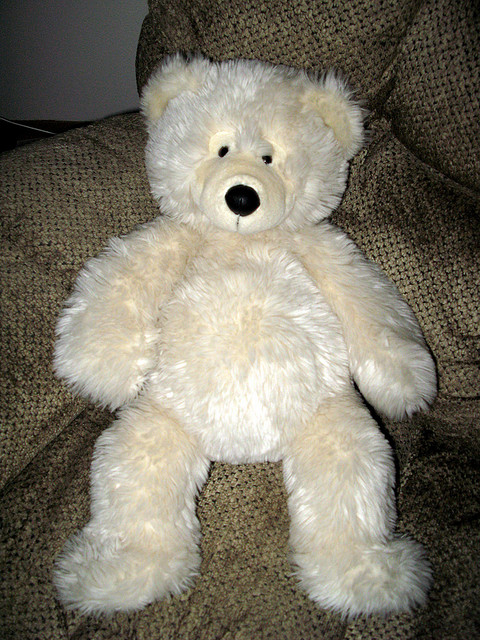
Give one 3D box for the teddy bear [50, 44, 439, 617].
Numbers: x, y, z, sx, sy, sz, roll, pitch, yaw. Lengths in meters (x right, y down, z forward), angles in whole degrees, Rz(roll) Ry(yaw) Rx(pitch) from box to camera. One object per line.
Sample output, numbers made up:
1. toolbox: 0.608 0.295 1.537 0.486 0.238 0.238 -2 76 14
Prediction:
1. teddy bear: 0.027 0.016 1.103 0.581 0.282 0.774 1 82 3
